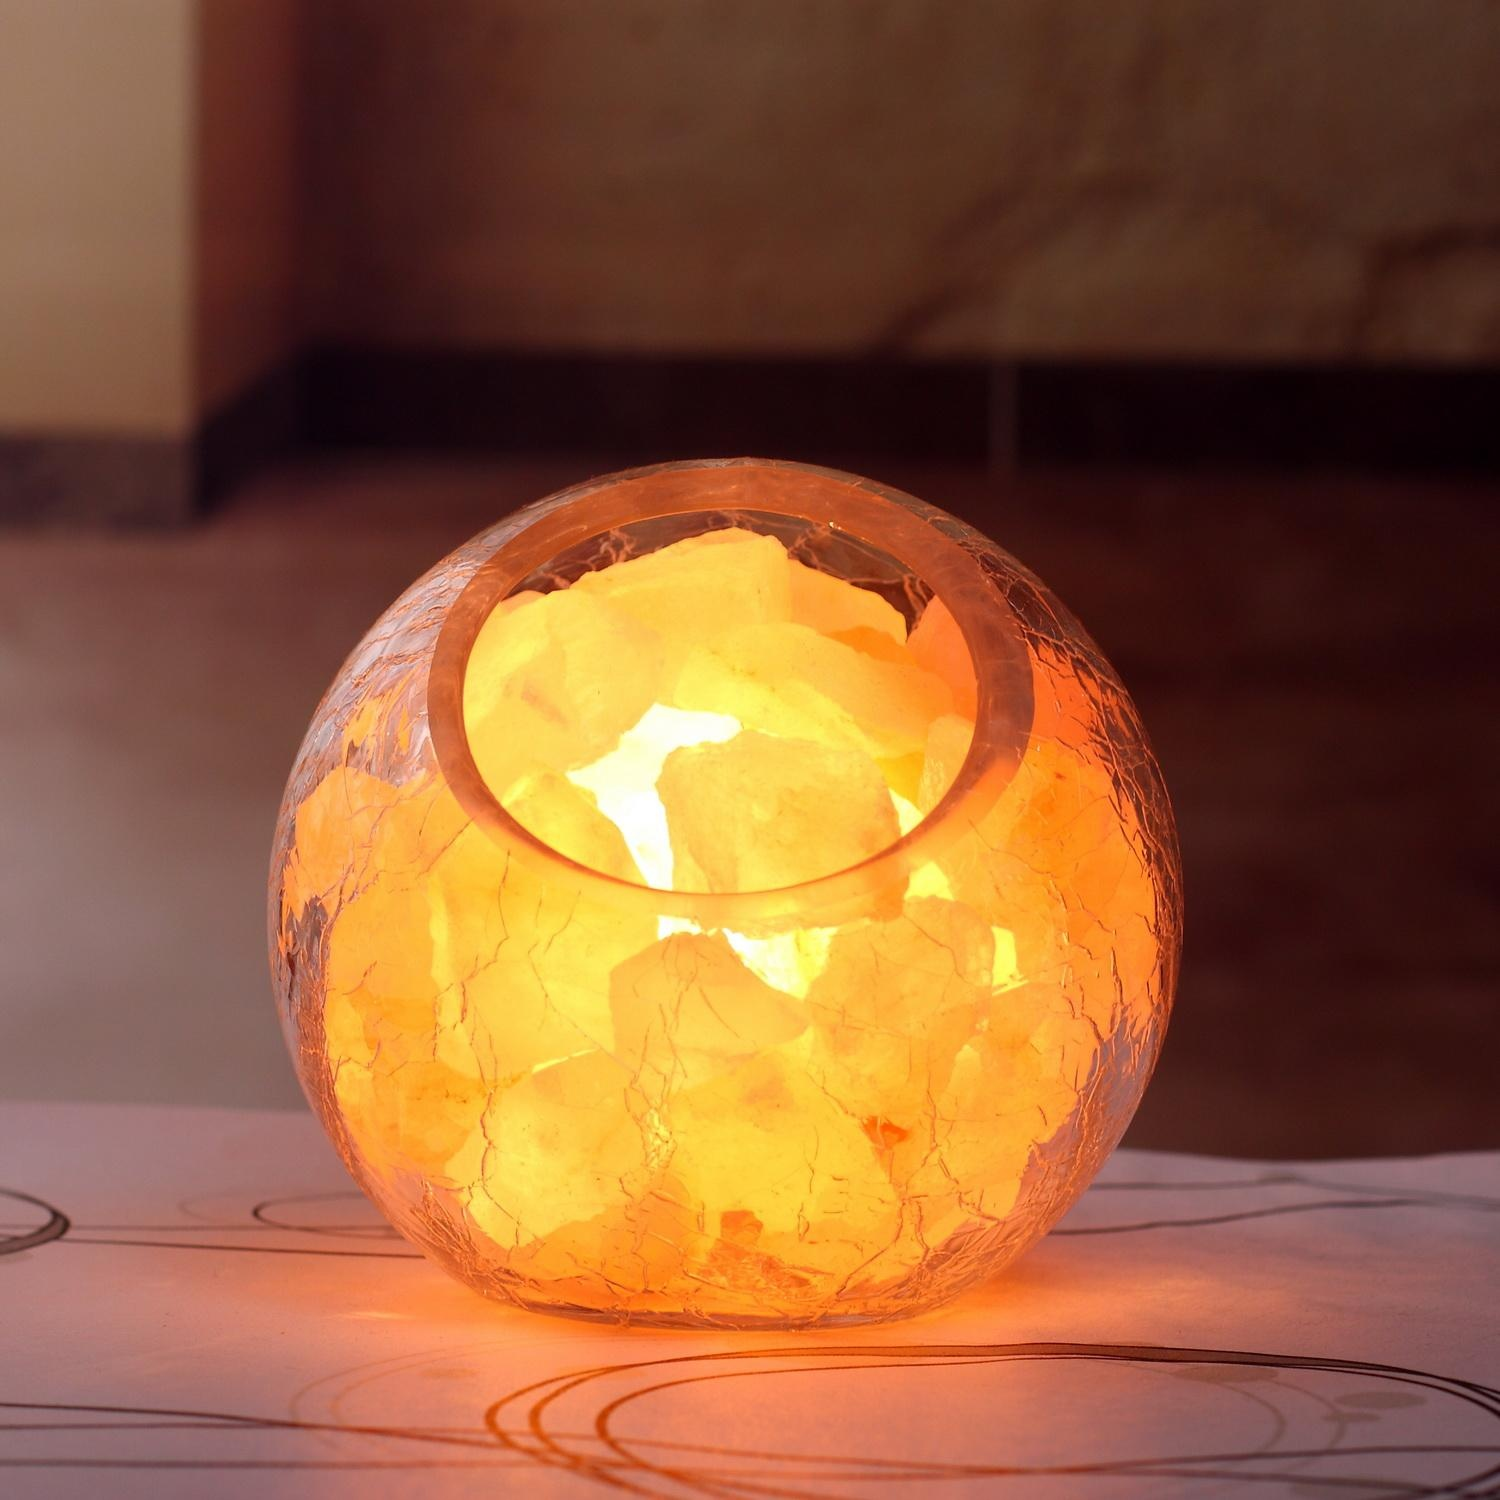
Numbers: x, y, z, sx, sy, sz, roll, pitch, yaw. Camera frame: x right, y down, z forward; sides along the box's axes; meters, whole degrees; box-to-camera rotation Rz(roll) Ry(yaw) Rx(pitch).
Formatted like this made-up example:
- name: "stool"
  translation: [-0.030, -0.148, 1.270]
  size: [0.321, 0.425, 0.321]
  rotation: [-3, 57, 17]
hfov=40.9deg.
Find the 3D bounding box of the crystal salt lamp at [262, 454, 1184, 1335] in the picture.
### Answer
- name: "crystal salt lamp"
  translation: [-0.004, 0.048, 0.677]
  size: [0.318, 0.205, 0.268]
  rotation: [2, 50, -6]
